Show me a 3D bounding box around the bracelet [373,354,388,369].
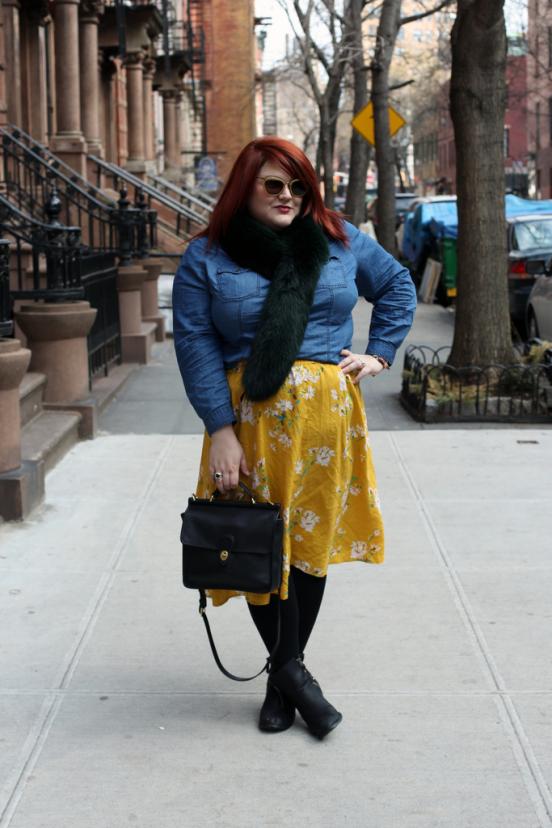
[{"bbox_3d":[0.316,-0.167,3.330,0.040,0.020,0.050,39,-8,22],"label":"bracelet"}]

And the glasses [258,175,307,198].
[{"bbox_3d":[0.027,-0.647,3.088,0.140,0.056,0.060,-5,12,-29],"label":"glasses"}]

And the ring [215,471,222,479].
[{"bbox_3d":[-0.162,0.168,3.006,0.017,0.019,0.015,-4,24,1],"label":"ring"}]

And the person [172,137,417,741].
[{"bbox_3d":[0.070,0.075,3.242,0.696,1.756,0.441,-9,15,-38],"label":"person"}]

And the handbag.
[{"bbox_3d":[-0.113,0.334,2.960,0.362,0.308,0.153,3,3,22],"label":"handbag"}]

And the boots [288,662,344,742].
[{"bbox_3d":[0.109,0.825,3.256,0.095,0.177,0.262,-19,29,-21],"label":"boots"}]
